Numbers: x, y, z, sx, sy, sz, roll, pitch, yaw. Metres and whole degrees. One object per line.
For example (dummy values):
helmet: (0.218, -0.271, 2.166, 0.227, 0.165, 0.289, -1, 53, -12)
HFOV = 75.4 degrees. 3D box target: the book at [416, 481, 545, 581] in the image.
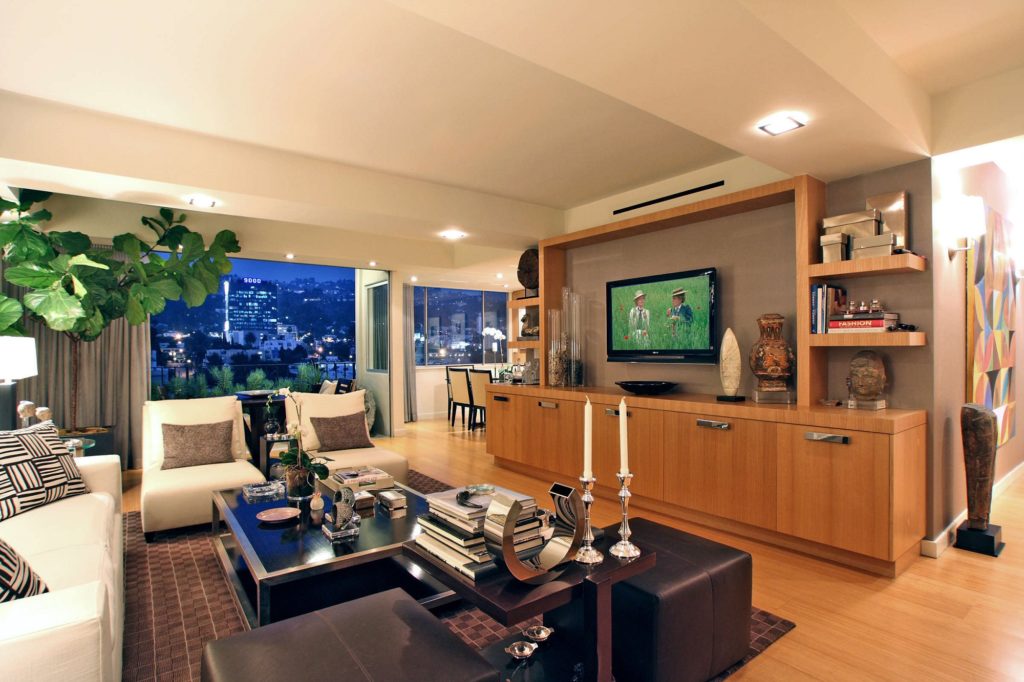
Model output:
book: (-0.243, 0.968, 3.463, 0.487, 0.219, 0.477, 0, 4, -27)

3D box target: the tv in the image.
tv: (1.421, -0.222, 6.034, 0.105, 0.679, 0.975, 2, -2, -38)

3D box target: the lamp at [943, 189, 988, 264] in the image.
lamp: (3.431, -0.854, 4.995, 0.212, 0.459, 0.617, -1, 2, 41)

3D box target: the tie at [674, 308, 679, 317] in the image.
tie: (1.479, -0.259, 5.961, 0.015, 0.058, 0.062, 7, -2, -39)

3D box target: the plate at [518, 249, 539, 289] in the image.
plate: (0.184, -0.808, 7.354, 0.172, 0.425, 0.426, -2, 10, -32)

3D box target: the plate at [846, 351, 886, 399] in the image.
plate: (2.650, 0.254, 4.909, 0.273, 0.347, 0.175, -2, 1, 17)

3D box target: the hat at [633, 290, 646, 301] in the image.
hat: (1.201, -0.432, 6.249, 0.083, 0.045, 0.080, -11, -3, 32)
